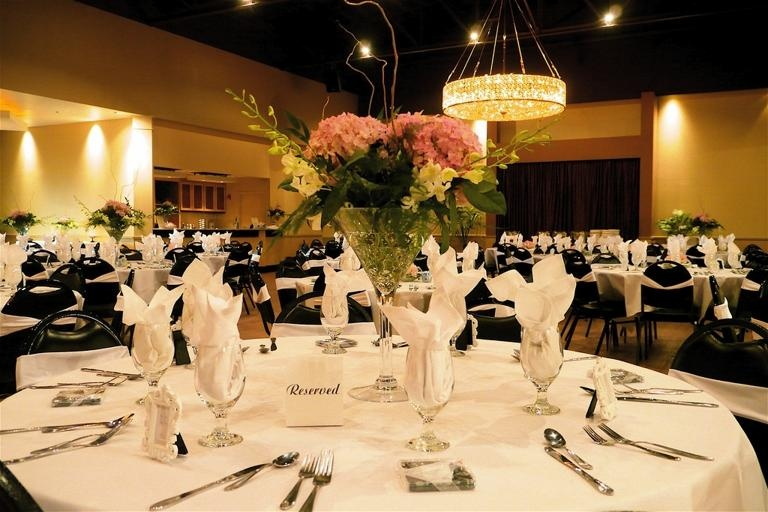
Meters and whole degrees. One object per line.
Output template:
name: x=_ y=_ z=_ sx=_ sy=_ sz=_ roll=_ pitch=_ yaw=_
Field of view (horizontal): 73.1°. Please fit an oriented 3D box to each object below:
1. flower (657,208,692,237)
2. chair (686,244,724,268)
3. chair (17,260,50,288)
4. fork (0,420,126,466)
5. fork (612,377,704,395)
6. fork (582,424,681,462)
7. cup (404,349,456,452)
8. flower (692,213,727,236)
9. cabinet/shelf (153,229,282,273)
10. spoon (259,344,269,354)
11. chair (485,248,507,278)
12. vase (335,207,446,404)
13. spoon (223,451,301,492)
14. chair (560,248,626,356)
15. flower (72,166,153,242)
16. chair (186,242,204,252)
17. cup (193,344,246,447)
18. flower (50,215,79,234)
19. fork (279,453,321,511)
flower: x=4.492 y=-0.488 z=7.979 sx=0.700 sy=0.357 sz=0.489 roll=-6 pitch=9 yaw=-32
chair: x=4.429 y=0.007 z=7.219 sx=0.461 sy=0.366 sz=0.541 roll=2 pitch=3 yaw=32
chair: x=-3.246 y=0.172 z=4.780 sx=0.245 sy=0.349 sz=0.250 roll=0 pitch=-3 yaw=-38
fork: x=-0.883 y=0.499 z=1.441 sx=0.084 sy=0.039 sz=0.276 roll=5 pitch=6 yaw=40
fork: x=0.940 y=0.461 z=1.785 sx=0.288 sy=0.015 sz=0.088 roll=0 pitch=11 yaw=2
fork: x=0.673 y=0.516 z=1.436 sx=0.066 sy=0.037 sz=0.267 roll=1 pitch=5 yaw=-35
cup: x=0.114 y=0.381 z=1.442 sx=0.129 sy=0.314 sz=0.192 roll=-2 pitch=8 yaw=-6
flower: x=4.877 y=-0.450 z=7.900 sx=0.335 sy=0.332 sz=0.822 roll=6 pitch=10 yaw=41
cabinet/shelf: x=-4.035 y=-0.055 z=12.779 sx=2.933 sy=1.008 sz=0.882 roll=-1 pitch=-13 yaw=-18
spoon: x=-0.515 y=0.404 z=2.227 sx=0.030 sy=0.021 sz=0.033 roll=3 pitch=-1 yaw=3
chair: x=1.869 y=0.093 z=8.658 sx=0.513 sy=0.505 sz=0.522 roll=2 pitch=6 yaw=26
vase: x=0.003 y=0.148 z=1.896 sx=0.423 sy=0.687 sz=0.412 roll=-5 pitch=-6 yaw=29
spoon: x=-0.307 y=0.552 z=1.340 sx=0.054 sy=0.036 sz=0.283 roll=2 pitch=3 yaw=22
chair: x=2.117 y=0.479 z=5.366 sx=0.467 sy=0.851 sz=0.558 roll=7 pitch=5 yaw=-16
flower: x=-3.925 y=-0.590 z=7.643 sx=0.684 sy=0.884 sz=0.751 roll=4 pitch=3 yaw=-22
chair: x=-3.209 y=-0.141 z=8.761 sx=0.293 sy=0.214 sz=0.298 roll=-1 pitch=1 yaw=1
cup: x=-0.472 y=0.380 z=1.508 sx=0.133 sy=0.292 sz=0.184 roll=-3 pitch=8 yaw=-11
flower: x=-7.128 y=-0.706 z=11.586 sx=0.596 sy=0.416 sz=0.607 roll=-4 pitch=-2 yaw=5
fork: x=-0.207 y=0.564 z=1.304 sx=0.028 sy=0.020 sz=0.167 roll=2 pitch=24 yaw=11
